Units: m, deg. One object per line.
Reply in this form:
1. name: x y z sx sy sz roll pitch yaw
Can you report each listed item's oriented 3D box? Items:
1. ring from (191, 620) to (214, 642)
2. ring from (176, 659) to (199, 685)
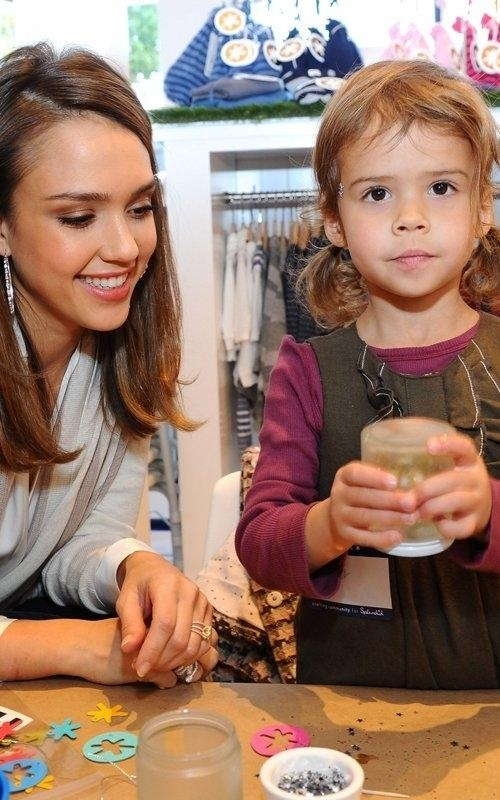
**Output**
1. ring: -0.058 0.291 0.822 0.011 0.023 0.031 -32 27 -23
2. ring: -0.072 0.319 0.755 0.019 0.023 0.020 1 58 -2
